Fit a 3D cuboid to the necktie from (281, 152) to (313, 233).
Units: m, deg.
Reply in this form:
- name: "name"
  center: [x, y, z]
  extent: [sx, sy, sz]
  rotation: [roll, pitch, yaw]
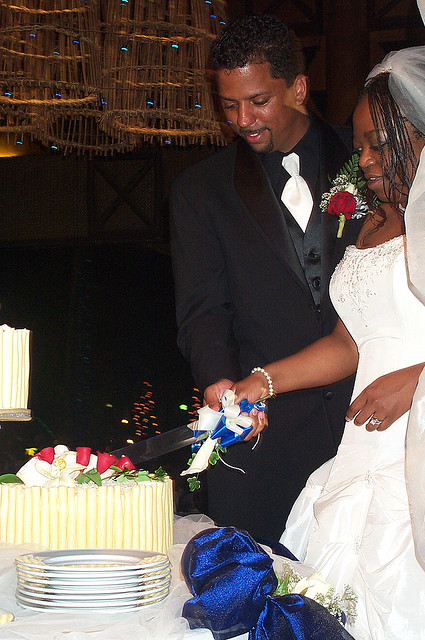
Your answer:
- name: "necktie"
  center: [0.287, -0.434, 2.375]
  extent: [0.101, 0.274, 0.108]
  rotation: [-8, 4, 13]

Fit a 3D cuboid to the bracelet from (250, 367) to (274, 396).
- name: "bracelet"
  center: [0.146, 0.166, 1.884]
  extent: [0.056, 0.069, 0.022]
  rotation: [-29, -10, -49]

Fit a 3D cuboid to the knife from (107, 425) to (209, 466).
- name: "knife"
  center: [-0.135, 0.308, 1.697]
  extent: [0.192, 0.074, 0.313]
  rotation: [-7, 3, -15]
